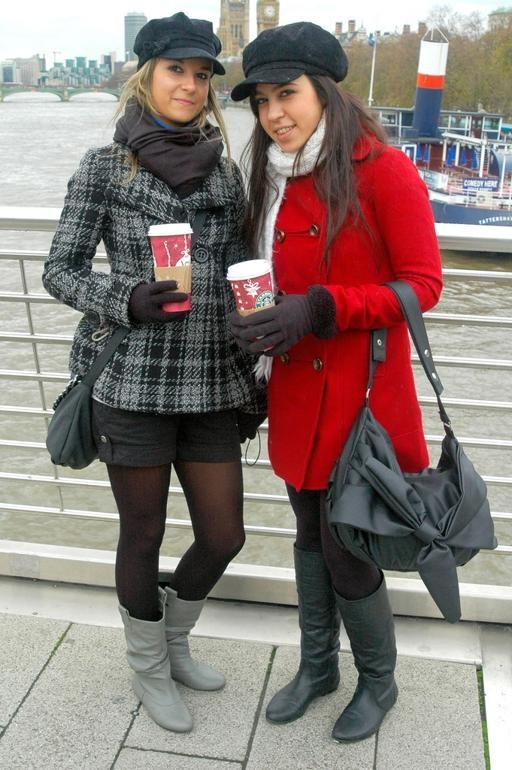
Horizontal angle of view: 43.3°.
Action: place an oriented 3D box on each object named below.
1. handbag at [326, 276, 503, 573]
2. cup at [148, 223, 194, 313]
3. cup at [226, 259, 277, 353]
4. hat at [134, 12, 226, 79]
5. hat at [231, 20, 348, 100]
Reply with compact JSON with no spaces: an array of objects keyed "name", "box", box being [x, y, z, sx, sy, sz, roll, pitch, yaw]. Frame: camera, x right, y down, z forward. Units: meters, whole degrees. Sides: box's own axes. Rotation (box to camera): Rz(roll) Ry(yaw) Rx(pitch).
[{"name":"handbag","box":[0.370,0.167,1.498,0.395,0.543,0.321,2,17,6]},{"name":"cup","box":[-0.200,-0.277,1.523,0.090,0.208,0.179,-1,17,-6]},{"name":"cup","box":[-0.010,-0.220,1.466,0.103,0.129,0.102,0,17,0]},{"name":"hat","box":[-0.167,-0.873,1.645,0.149,0.090,0.184,0,1,17]},{"name":"hat","box":[0.066,-0.793,1.563,0.295,0.173,0.221,4,17,10]}]
